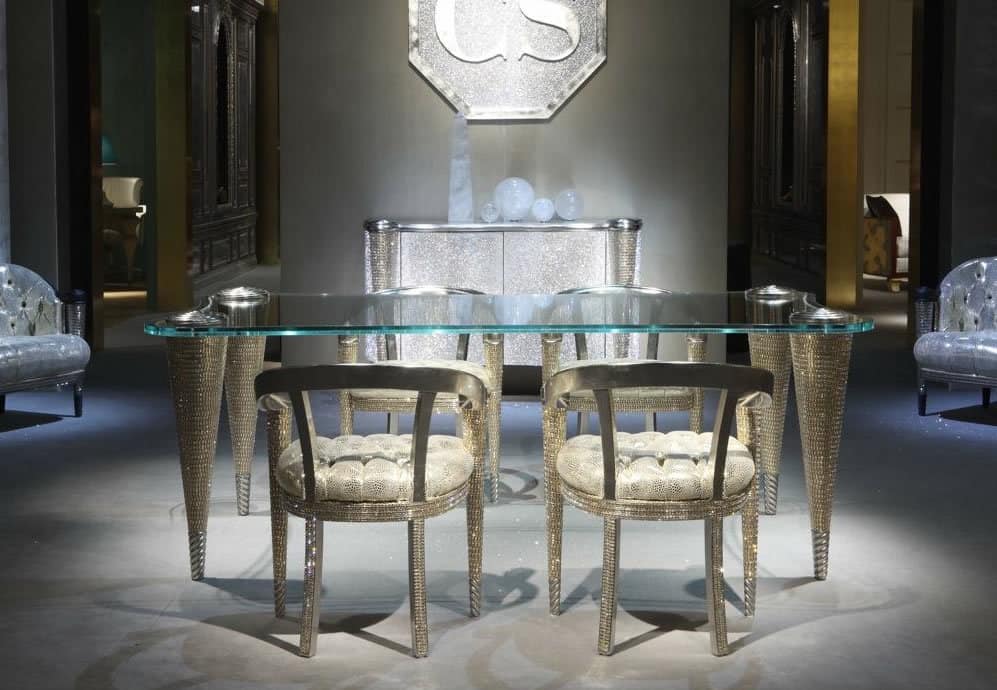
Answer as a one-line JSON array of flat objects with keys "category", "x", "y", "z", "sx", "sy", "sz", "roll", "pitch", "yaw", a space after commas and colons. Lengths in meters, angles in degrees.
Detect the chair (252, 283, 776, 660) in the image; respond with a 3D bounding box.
[{"category": "chair", "x": 0.060, "y": 0.407, "z": 3.148, "sx": 1.778, "sy": 0.978, "sz": 1.139, "roll": 0, "pitch": 11, "yaw": 0}]
